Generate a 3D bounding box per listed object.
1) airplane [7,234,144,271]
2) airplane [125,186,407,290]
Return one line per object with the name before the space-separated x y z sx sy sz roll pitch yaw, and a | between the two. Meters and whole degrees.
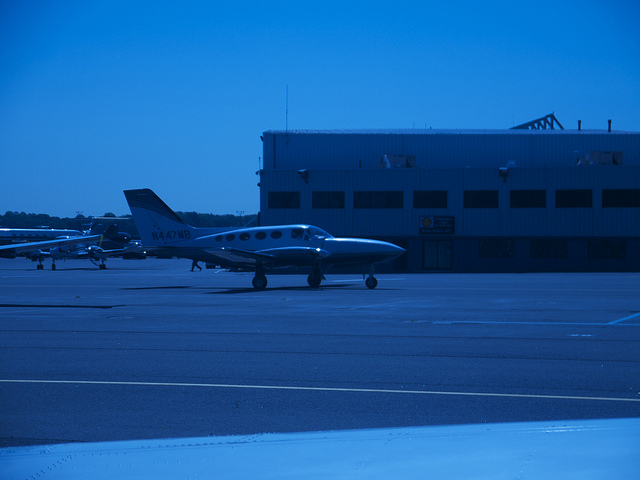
airplane | -16.077 0.688 64.317 7.567 1.628 5.935 -1 -3 14
airplane | -2.487 -0.072 37.240 10.026 3.700 3.497 2 2 38
